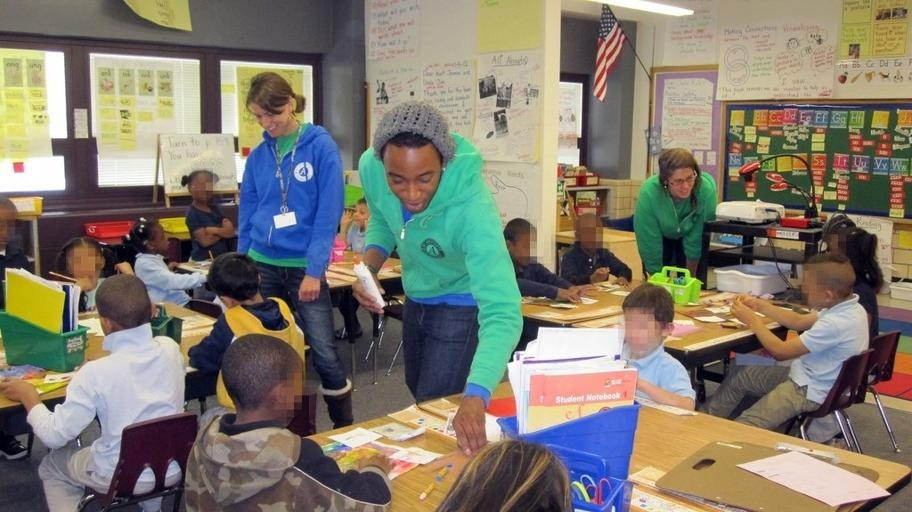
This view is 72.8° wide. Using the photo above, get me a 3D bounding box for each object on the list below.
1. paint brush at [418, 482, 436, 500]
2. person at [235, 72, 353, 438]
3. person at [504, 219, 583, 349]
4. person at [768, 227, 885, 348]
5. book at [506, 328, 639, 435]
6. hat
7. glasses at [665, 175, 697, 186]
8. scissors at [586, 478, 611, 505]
[{"bbox_3d":[-0.118,1.002,2.624,0.084,0.023,0.027,-23,2,-32],"label":"paint brush"},{"bbox_3d":[-1.141,0.073,4.472,0.984,2.588,0.708,5,9,26],"label":"person"},{"bbox_3d":[0.686,0.276,5.122,0.749,1.044,0.694,6,14,23],"label":"person"},{"bbox_3d":[2.973,0.220,5.059,0.810,1.244,0.928,-2,0,29],"label":"person"},{"bbox_3d":[0.481,0.515,2.614,0.533,0.195,0.493,-5,12,-22],"label":"book"},{"bbox_3d":[-0.184,-0.590,2.826,0.313,0.306,0.161,2,45,-7],"label":"hat"},{"bbox_3d":[1.973,-0.653,5.363,0.266,0.086,0.123,-2,10,-8],"label":"glasses"},{"bbox_3d":[0.550,0.906,2.385,0.101,0.094,0.030,-1,11,2],"label":"scissors"}]
